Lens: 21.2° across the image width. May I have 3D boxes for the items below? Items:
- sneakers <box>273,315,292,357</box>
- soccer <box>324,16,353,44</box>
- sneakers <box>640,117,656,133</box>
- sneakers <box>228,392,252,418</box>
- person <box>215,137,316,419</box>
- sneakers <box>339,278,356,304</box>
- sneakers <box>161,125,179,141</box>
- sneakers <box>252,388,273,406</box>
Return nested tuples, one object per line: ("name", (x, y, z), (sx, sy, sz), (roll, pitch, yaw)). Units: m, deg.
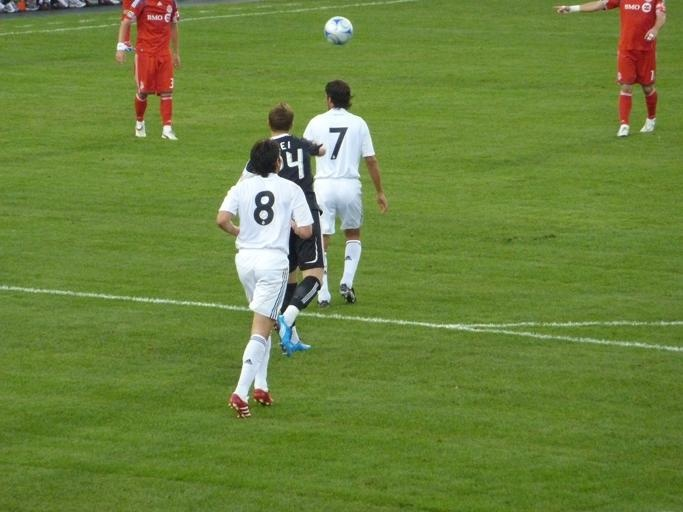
("sneakers", (-0.679, 0.935, 21.483), (0.243, 0.480, 0.170), (-17, 20, -9))
("soccer", (-0.071, -3.569, 28.870), (0.402, 0.468, 0.574), (-2, 15, 2))
("sneakers", (4.768, -2.031, 28.409), (0.308, 0.117, 0.137), (3, -7, -35))
("sneakers", (-1.233, 1.735, 21.101), (0.147, 0.392, 0.194), (-18, 40, 32))
("person", (-0.970, 0.230, 21.233), (1.158, 3.097, 0.653), (-15, 20, -40))
("sneakers", (0.061, 0.461, 23.377), (0.128, 0.347, 0.167), (-10, 45, 7))
("sneakers", (-2.674, -1.898, 28.093), (0.135, 0.143, 0.357), (-19, 17, -31))
("sneakers", (-0.964, 1.669, 21.316), (0.116, 0.141, 0.309), (-3, -20, 28))
